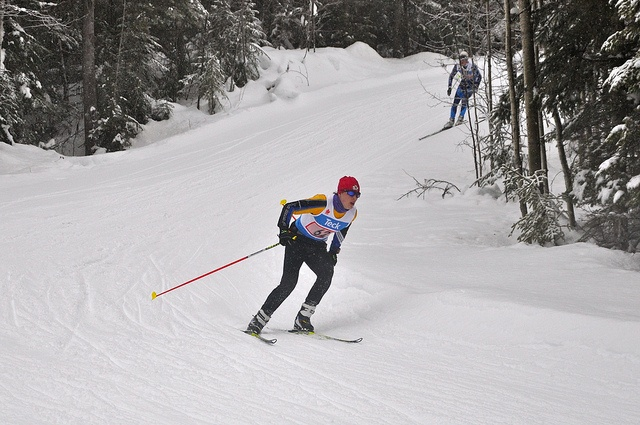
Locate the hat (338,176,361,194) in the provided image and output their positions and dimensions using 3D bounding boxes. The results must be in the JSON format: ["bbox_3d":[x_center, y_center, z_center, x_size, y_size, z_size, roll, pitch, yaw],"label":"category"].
[{"bbox_3d":[0.537,-0.516,11.462,0.365,0.321,0.274,10,10,23],"label":"hat"}]

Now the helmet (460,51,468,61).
[{"bbox_3d":[4.334,-4.780,18.751,0.277,0.345,0.357,-2,2,11],"label":"helmet"}]

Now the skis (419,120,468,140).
[{"bbox_3d":[4.386,-2.901,21.872,1.926,0.222,0.134,-30,-10,-14],"label":"skis"}]
